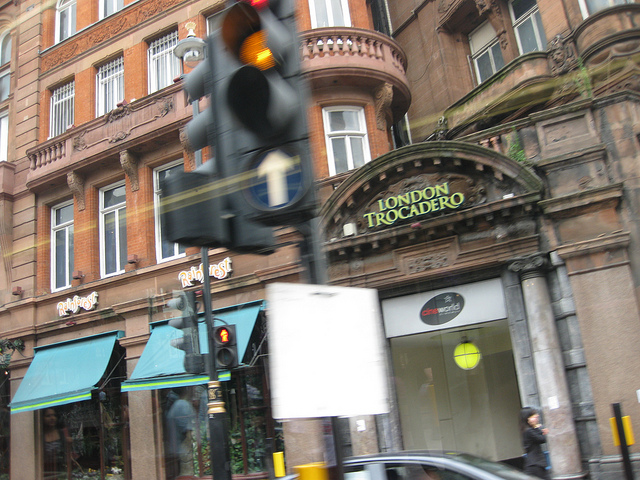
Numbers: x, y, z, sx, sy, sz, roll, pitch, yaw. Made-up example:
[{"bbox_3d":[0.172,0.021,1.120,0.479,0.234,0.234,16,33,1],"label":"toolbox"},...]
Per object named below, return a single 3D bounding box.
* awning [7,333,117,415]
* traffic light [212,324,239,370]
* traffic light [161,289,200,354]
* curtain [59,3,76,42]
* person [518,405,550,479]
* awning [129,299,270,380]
[{"bbox_3d":[-7.782,3.933,27.565,3.120,2.127,1.243,-15,-22,27],"label":"awning"},{"bbox_3d":[-2.324,2.615,22.705,0.622,1.073,0.380,-9,-22,5],"label":"traffic light"},{"bbox_3d":[-3.381,2.017,22.763,0.800,1.599,0.406,10,-29,-38],"label":"traffic light"},{"bbox_3d":[-8.709,-7.440,31.630,0.890,1.187,0.193,-24,-27,38],"label":"curtain"},{"bbox_3d":[4.923,4.642,21.274,0.726,1.648,0.556,6,-26,-30],"label":"person"},{"bbox_3d":[-3.341,2.811,25.160,1.658,1.793,6.143,-18,1,-41],"label":"awning"}]
